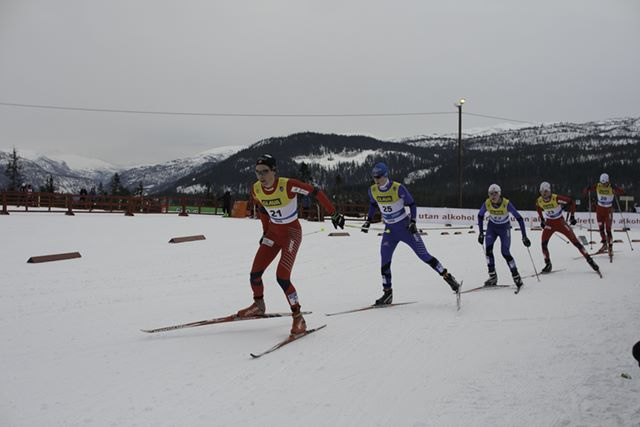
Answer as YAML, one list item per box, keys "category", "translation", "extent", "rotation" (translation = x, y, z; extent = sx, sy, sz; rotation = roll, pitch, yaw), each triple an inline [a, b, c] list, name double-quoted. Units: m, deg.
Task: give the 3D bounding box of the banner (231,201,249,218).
- category: "banner"
  translation: [-4.218, -0.226, 31.867]
  extent: [0.918, 0.823, 0.667]
  rotation: [-5, 2, 26]

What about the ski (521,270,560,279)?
- category: "ski"
  translation: [5.657, 1.557, 15.815]
  extent: [1.462, 0.202, 0.100]
  rotation: [-7, 6, -37]

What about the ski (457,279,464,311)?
- category: "ski"
  translation: [3.030, 1.717, 13.342]
  extent: [0.042, 0.160, 1.039]
  rotation: [-14, 11, 17]

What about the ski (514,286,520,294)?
- category: "ski"
  translation: [4.479, 1.740, 14.058]
  extent: [0.087, 0.110, 0.419]
  rotation: [-5, 2, 24]

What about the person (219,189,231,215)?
- category: "person"
  translation: [-5.040, -0.601, 33.042]
  extent: [0.451, 1.278, 1.995]
  rotation: [-6, 1, -9]
